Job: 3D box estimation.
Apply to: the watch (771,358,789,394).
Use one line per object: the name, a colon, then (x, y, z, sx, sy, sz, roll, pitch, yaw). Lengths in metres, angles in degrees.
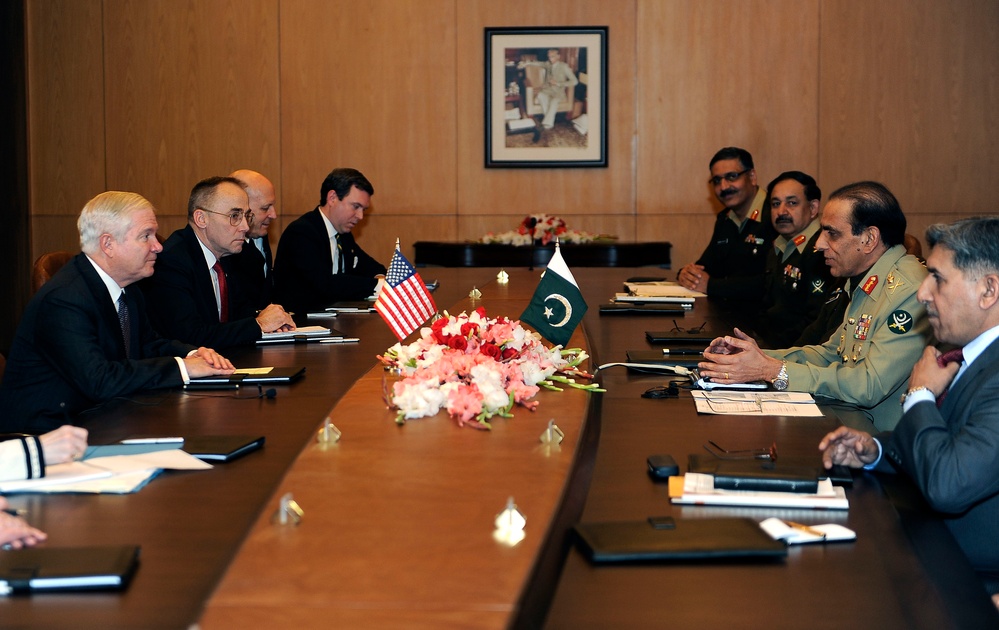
watch: (1.131, 0.269, 3.169, 0.049, 0.094, 0.070, -3, -4, 44)

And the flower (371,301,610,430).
flower: (-0.090, 0.190, 2.835, 0.495, 0.213, 0.506, -3, 14, -11)

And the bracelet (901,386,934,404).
bracelet: (1.399, 0.271, 2.633, 0.089, 0.026, 0.091, -9, 15, 18)

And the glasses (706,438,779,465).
glasses: (0.779, 0.452, 2.547, 0.127, 0.052, 0.092, -6, 12, 7)

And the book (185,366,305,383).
book: (-1.062, 0.252, 3.261, 0.466, 0.038, 0.352, 0, 4, 9)

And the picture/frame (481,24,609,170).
picture/frame: (0.501, -2.271, 7.981, 1.372, 1.588, 0.116, -1, 5, 2)

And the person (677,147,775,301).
person: (1.856, -0.674, 6.221, 0.879, 1.313, 0.814, -1, -1, -17)
